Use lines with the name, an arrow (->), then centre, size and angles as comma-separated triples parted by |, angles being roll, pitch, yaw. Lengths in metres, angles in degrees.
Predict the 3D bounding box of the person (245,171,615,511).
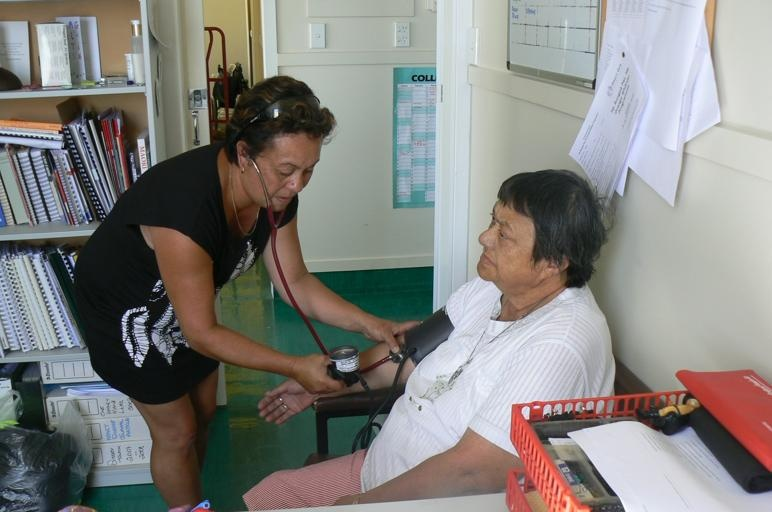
person -> 0.141, 0.193, 1.977 | 1.130, 1.232, 0.913 | 2, 12, 1

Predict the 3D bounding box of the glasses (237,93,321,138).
glasses -> -0.311, -0.396, 1.616 | 0.247, 0.121, 0.096 | -6, 18, -16

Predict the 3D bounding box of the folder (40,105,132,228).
folder -> -1.189, -0.381, 2.396 | 0.145, 0.456, 0.336 | -11, 16, 1

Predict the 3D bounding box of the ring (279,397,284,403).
ring -> -0.388, 0.530, 2.083 | 0.011, 0.015, 0.004 | 6, 6, 7

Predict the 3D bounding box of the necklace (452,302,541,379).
necklace -> 0.308, 0.215, 1.639 | 0.114, 0.026, 0.387 | 25, 64, 27

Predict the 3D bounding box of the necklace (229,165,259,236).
necklace -> -0.461, -0.181, 1.802 | 0.109, 0.213, 0.029 | -5, 13, -12

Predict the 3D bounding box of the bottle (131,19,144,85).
bottle -> -1.035, -0.846, 2.341 | 0.055, 0.258, 0.279 | -8, 19, -21

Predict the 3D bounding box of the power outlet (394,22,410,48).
power outlet -> 0.105, -1.543, 3.926 | 0.151, 0.230, 0.025 | -1, 11, -11
